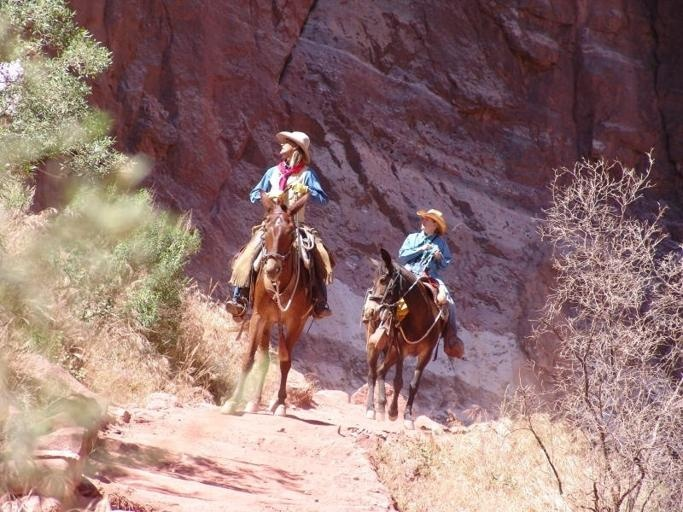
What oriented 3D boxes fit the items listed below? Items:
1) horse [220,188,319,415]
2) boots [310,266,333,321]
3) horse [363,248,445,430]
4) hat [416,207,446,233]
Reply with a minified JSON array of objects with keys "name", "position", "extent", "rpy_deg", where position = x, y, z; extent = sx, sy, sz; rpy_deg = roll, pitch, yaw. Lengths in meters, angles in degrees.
[{"name":"horse","position":[-1.491,1.047,23.607],"extent":[0.987,4.607,1.874],"rpy_deg":[13,8,24]},{"name":"boots","position":[-0.484,0.872,24.415],"extent":[0.302,1.392,0.687],"rpy_deg":[-6,10,6]},{"name":"horse","position":[1.312,1.912,25.575],"extent":[2.433,4.040,0.964],"rpy_deg":[5,9,-40]},{"name":"hat","position":[2.326,-0.954,29.111],"extent":[0.731,0.344,0.815],"rpy_deg":[43,-14,-32]}]
